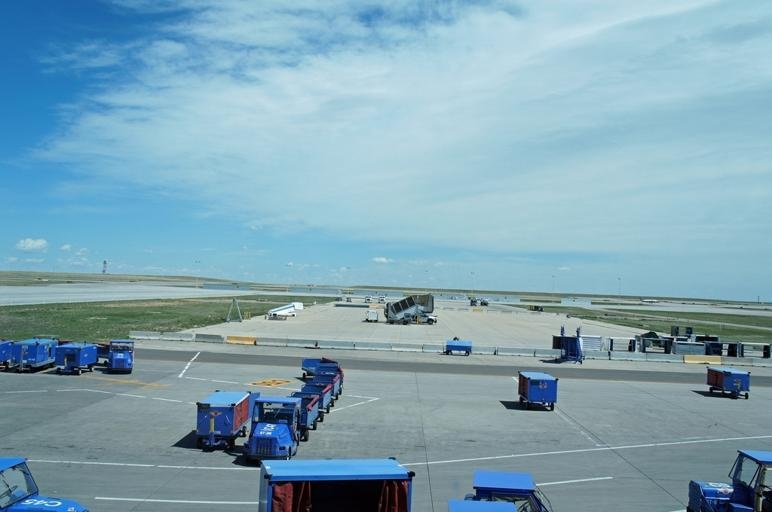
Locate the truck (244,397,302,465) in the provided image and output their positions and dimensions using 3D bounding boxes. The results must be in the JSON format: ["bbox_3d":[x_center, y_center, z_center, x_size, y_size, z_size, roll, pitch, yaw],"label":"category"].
[{"bbox_3d":[-7.692,11.369,37.433,3.601,2.035,4.749,0,-4,0],"label":"truck"}]

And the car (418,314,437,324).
[{"bbox_3d":[7.764,11.610,104.849,3.072,1.837,4.321,-2,-2,2],"label":"car"}]

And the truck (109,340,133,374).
[{"bbox_3d":[-25.150,9.663,54.320,1.963,3.055,1.790,-2,-3,-27],"label":"truck"}]
